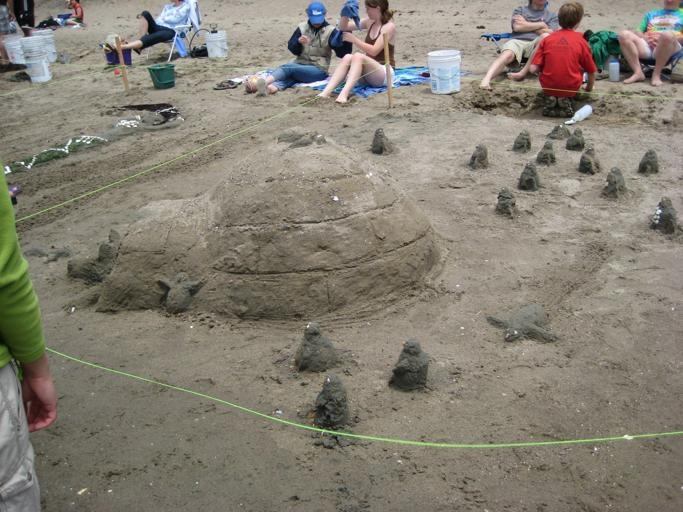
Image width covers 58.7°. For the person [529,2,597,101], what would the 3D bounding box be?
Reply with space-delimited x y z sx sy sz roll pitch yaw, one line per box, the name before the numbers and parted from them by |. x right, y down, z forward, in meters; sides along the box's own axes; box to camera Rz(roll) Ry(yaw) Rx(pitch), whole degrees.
person | 3.070 -2.810 8.360 0.850 1.247 0.491 5 32 12

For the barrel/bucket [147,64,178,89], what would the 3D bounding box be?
barrel/bucket | -3.060 -3.178 10.711 0.569 0.430 0.569 -1 25 0

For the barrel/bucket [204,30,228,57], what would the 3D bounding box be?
barrel/bucket | -2.665 -4.455 12.842 0.674 0.503 0.582 -6 23 -14
